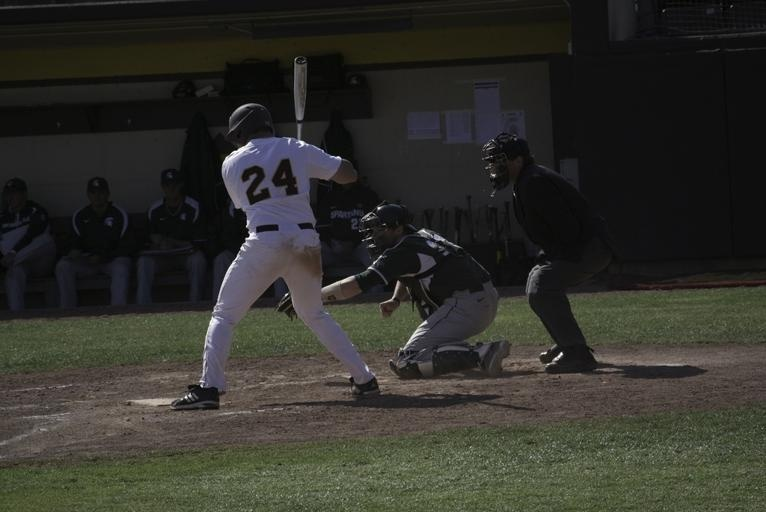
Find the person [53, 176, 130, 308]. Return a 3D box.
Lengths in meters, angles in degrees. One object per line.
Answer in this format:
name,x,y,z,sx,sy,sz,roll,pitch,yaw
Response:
person,-3.819,-0.191,16.709,0.976,1.678,0.716,-4,3,-8

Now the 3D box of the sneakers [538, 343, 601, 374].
sneakers,1.722,0.978,12.178,0.386,0.150,0.312,0,0,41

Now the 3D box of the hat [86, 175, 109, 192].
hat,-3.813,-0.962,17.054,0.224,0.160,0.297,0,-7,-9

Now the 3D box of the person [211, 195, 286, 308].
person,-1.954,-0.051,16.810,1.229,1.334,0.409,-4,-11,4

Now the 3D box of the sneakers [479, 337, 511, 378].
sneakers,1.130,0.929,12.051,0.359,0.240,0.127,-31,31,-36

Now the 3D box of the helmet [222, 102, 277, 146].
helmet,-1.220,-1.211,11.774,0.440,0.383,0.327,-38,7,0

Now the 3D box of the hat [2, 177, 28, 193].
hat,-4.854,-0.956,16.924,0.261,0.178,0.328,0,-7,8

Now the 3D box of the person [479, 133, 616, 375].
person,1.620,-0.043,12.271,1.138,2.300,0.490,-3,3,3

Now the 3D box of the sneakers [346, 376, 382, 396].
sneakers,-0.172,1.206,11.665,0.292,0.176,0.136,-1,2,10

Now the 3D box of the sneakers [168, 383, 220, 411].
sneakers,-1.762,1.293,11.643,0.542,0.218,0.178,1,-3,2
